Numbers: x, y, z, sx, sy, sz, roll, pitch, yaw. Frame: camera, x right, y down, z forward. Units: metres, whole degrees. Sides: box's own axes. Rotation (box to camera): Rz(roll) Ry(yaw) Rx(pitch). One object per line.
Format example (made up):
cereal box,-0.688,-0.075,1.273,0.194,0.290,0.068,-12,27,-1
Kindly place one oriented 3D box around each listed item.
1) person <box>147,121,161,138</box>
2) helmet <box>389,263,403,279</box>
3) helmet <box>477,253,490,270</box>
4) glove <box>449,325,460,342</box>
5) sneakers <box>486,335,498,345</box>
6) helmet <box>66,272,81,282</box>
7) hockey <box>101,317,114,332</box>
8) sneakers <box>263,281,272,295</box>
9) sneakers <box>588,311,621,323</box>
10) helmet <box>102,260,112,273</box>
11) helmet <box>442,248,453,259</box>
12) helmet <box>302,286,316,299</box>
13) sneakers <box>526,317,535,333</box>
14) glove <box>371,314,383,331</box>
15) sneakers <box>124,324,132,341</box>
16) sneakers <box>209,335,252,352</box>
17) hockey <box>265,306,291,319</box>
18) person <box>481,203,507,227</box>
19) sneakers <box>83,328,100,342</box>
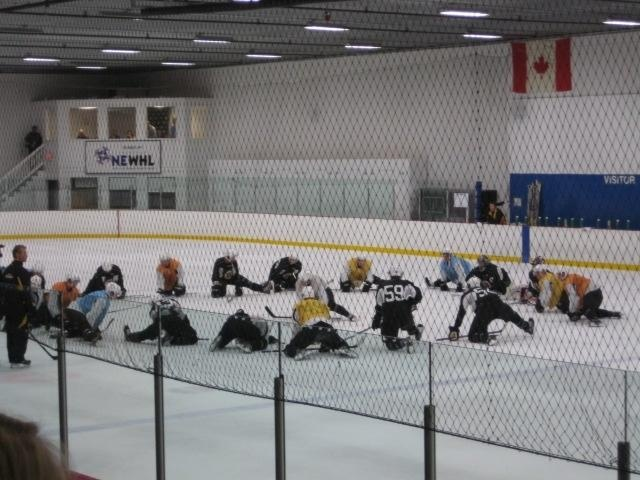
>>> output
person,-4.609,-2.972,23.445,0.311,0.448,0.926,0,3,-10
helmet,1.038,0.432,11.699,0.163,0.183,0.268,0,-40,2
helmet,2.254,0.302,11.798,0.142,0.211,0.194,-6,-12,10
glove,1.543,1.086,9.856,0.133,0.216,0.070,-1,-16,21
sneakers,2.007,1.166,9.938,0.089,0.048,0.136,-2,9,-1
helmet,-3.774,0.576,12.997,0.218,0.128,0.308,1,-2,0
hockey,-1.679,0.670,6.732,0.022,0.094,0.095,46,-16,-19
sneakers,-0.827,0.739,13.190,0.137,0.170,0.171,2,-5,-27
sneakers,3.734,0.988,11.075,0.636,0.148,0.201,-2,4,-39
helmet,-3.153,0.400,12.542,0.084,0.108,0.091,2,10,-3
helmet,1.905,0.199,12.805,0.164,0.103,0.228,25,11,18
helmet,-0.134,0.628,10.108,0.129,0.149,0.142,1,-6,-5
sneakers,2.480,1.017,10.079,0.062,0.220,0.081,0,-10,19
glove,0.658,0.976,9.945,0.096,0.182,0.046,8,-19,4
sneakers,-1.477,0.707,6.523,0.043,0.137,0.094,5,-38,-6
sneakers,-0.646,0.745,6.004,0.191,0.097,0.134,0,-1,1
hockey,-0.550,0.992,11.233,0.272,0.095,0.303,2,-2,11
person,3.196,-0.439,15.753,0.458,0.763,0.291,1,3,34
sneakers,-1.788,0.749,6.680,0.126,0.092,0.172,-2,4,-37
